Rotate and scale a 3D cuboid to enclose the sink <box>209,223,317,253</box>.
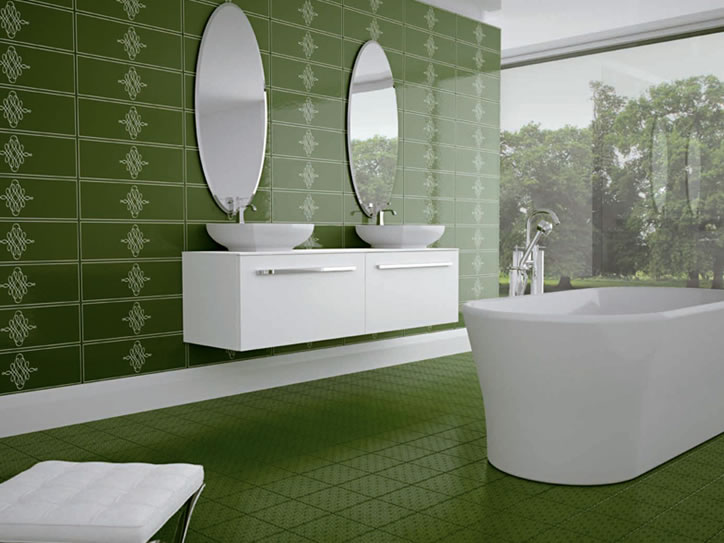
[{"bbox_3d":[-0.712,-0.221,3.103,0.705,0.196,0.320,0,2,17],"label":"sink"}]

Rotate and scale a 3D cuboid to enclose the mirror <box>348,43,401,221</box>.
[{"bbox_3d":[0.108,-1.214,4.088,0.121,1.531,0.571,2,4,43],"label":"mirror"}]

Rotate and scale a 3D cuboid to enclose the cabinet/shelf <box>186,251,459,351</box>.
[{"bbox_3d":[-0.216,0.162,3.279,1.843,0.615,0.444,-1,3,-23],"label":"cabinet/shelf"}]

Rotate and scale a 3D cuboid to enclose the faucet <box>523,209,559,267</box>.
[{"bbox_3d":[1.355,-0.258,3.594,0.280,0.512,0.117,-7,45,17],"label":"faucet"}]

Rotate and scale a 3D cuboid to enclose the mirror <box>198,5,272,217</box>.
[{"bbox_3d":[-0.900,-1.133,3.302,0.115,1.479,0.524,2,4,41],"label":"mirror"}]
